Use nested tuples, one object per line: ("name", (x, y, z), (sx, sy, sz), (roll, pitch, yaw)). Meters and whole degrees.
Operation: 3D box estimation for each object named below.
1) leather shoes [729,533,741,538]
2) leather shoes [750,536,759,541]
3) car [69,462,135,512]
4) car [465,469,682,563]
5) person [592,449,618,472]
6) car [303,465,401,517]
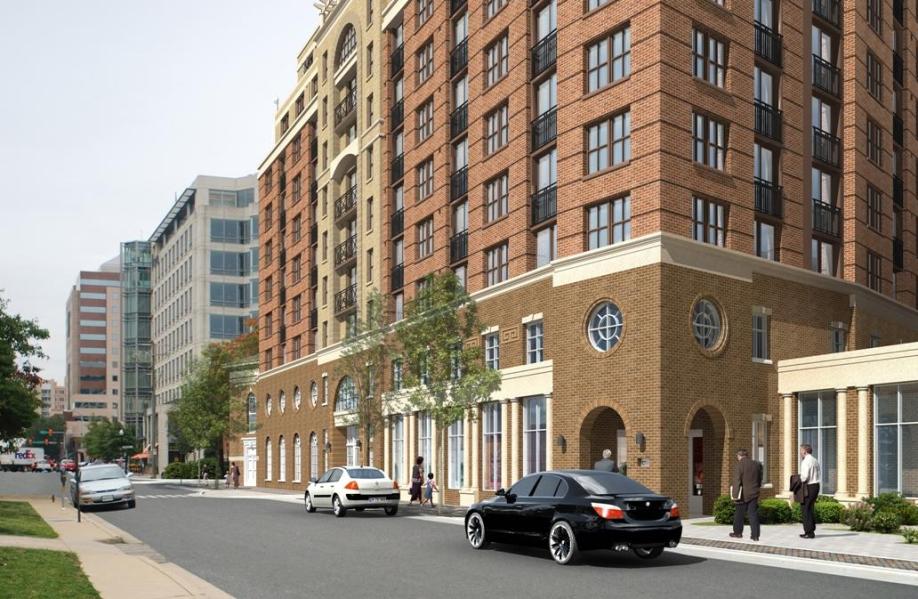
("leather shoes", (9.306, 7.969, 36.580), (0.155, 0.189, 0.406), (1, 0, -18))
("leather shoes", (9.743, 7.906, 35.745), (0.222, 0.074, 0.178), (3, -3, -35))
("car", (-16.962, 8.944, 51.737), (2.456, 2.176, 3.235), (7, -18, -24))
("car", (3.102, 6.639, 33.483), (2.710, 1.861, 5.667), (7, -9, -35))
("person", (6.174, 6.709, 45.522), (0.608, 0.956, 0.958), (12, -20, -36))
("car", (-4.562, 8.233, 46.279), (3.872, 2.205, 1.925), (-3, -16, 10))
